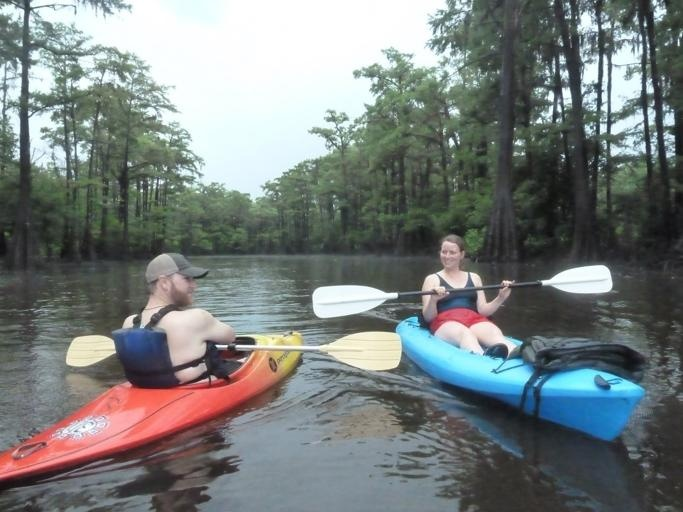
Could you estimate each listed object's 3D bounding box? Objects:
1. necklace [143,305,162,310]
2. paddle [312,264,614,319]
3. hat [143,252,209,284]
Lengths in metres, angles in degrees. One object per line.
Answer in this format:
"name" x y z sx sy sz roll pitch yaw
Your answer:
"necklace" -2.495 0.677 9.551 0.252 0.055 0.070 -2 1 23
"paddle" 1.051 0.520 11.500 5.564 0.762 0.215 -3 -15 7
"hat" -2.246 0.150 9.680 0.743 0.274 0.433 -2 2 -14
